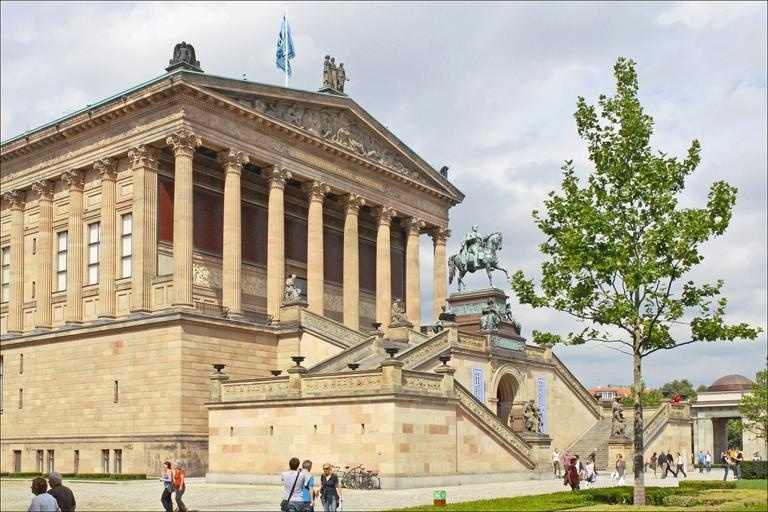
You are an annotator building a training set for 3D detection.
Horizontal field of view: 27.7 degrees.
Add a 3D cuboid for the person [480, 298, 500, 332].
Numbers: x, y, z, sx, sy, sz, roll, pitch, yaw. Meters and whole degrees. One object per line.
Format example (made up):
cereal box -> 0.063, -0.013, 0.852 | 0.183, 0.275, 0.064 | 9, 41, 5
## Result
person -> 7.190, 4.008, 105.461 | 1.265, 2.422, 1.061 | -9, -20, 20
